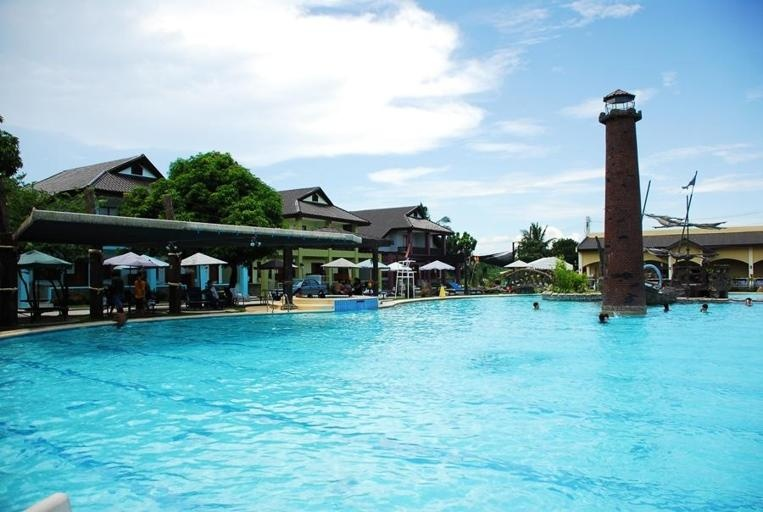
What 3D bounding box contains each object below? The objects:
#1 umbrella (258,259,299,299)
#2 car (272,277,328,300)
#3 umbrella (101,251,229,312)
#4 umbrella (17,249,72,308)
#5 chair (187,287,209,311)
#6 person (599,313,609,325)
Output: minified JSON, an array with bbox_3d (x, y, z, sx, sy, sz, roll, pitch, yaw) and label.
[{"bbox_3d":[-7.940,1.552,47.326,3.505,3.271,3.555,-2,0,-16],"label":"umbrella"},{"bbox_3d":[-5.330,2.245,42.057,1.884,1.063,3.344,-6,-8,37],"label":"car"},{"bbox_3d":[-10.726,0.709,28.663,4.764,2.169,3.920,3,11,11],"label":"umbrella"},{"bbox_3d":[-16.994,1.147,29.763,3.420,2.492,3.164,3,-6,-17],"label":"umbrella"},{"bbox_3d":[-9.447,2.196,30.266,1.111,1.013,1.320,2,-2,-35],"label":"chair"},{"bbox_3d":[10.890,3.077,28.861,0.458,0.427,1.087,-2,-5,10],"label":"person"}]
